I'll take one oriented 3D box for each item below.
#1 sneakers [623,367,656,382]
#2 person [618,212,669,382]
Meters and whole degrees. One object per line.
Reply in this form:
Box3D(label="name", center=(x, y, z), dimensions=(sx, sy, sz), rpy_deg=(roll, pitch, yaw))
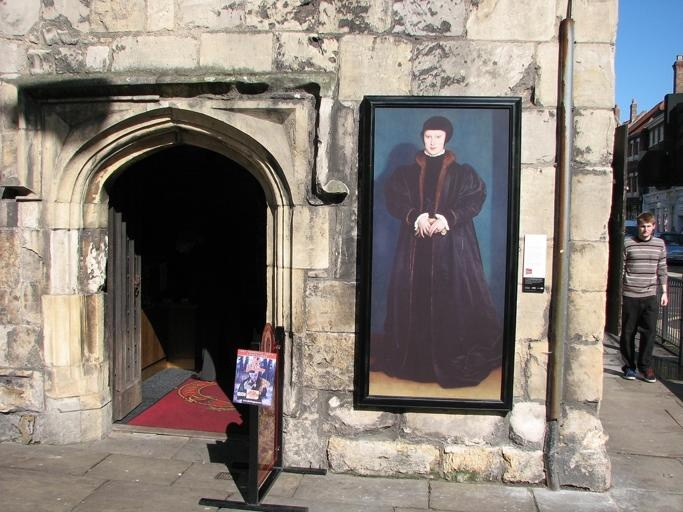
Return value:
Box3D(label="sneakers", center=(3.444, 1.388, 9.116), dimensions=(0.136, 0.192, 0.426), rpy_deg=(-1, -6, -24))
Box3D(label="person", center=(3.475, 0.493, 9.043), dimensions=(0.495, 2.012, 0.969), rpy_deg=(6, 14, 23))
